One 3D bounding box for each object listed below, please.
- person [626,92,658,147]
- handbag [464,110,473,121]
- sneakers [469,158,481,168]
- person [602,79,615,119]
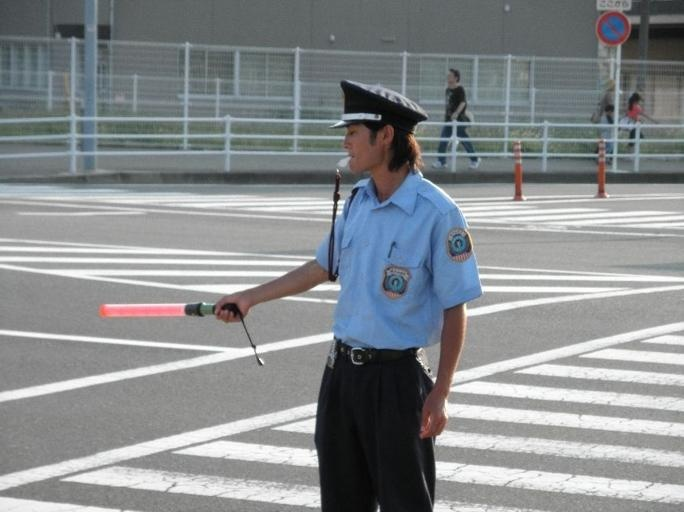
[{"bbox_3d":[7.376,-3.275,32.805,0.786,1.460,0.704,2,13,-8],"label":"person"},{"bbox_3d":[3.011,-3.349,31.377,0.239,0.244,0.244,0,-9,0],"label":"handbag"},{"bbox_3d":[3.099,-2.164,30.525,0.124,0.146,0.364,-2,22,19],"label":"sneakers"},{"bbox_3d":[6.419,-3.817,31.903,0.275,0.865,1.032,3,7,9],"label":"person"}]
